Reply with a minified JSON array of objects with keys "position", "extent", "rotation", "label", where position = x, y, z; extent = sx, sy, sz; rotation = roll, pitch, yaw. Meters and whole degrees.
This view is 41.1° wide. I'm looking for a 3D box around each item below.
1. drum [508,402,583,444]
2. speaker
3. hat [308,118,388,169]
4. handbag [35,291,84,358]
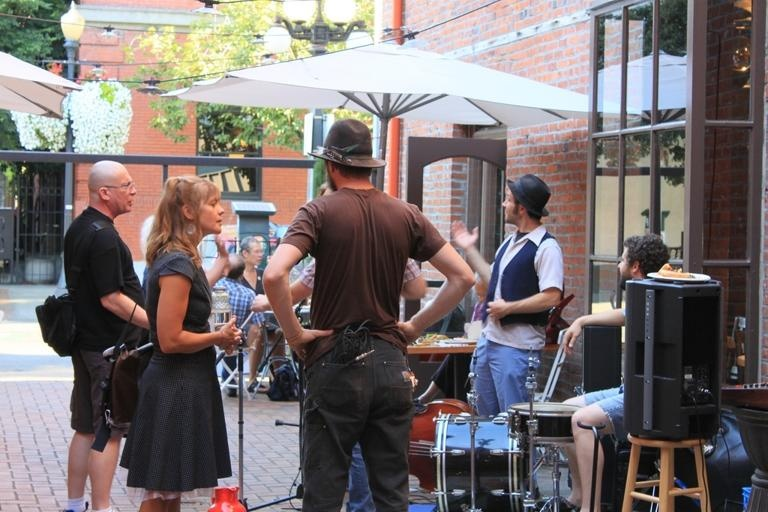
[{"position":[1.288,1.347,8.273],"extent":[0.387,0.165,0.383],"rotation":[1,-3,0],"label":"drum"},{"position":[2.139,0.778,7.614],"extent":[0.685,1.176,0.258],"rotation":[1,1,16],"label":"speaker"},{"position":[-0.249,-0.772,7.265],"extent":[0.379,0.200,0.374],"rotation":[11,2,-6],"label":"hat"},{"position":[-2.735,0.573,8.519],"extent":[0.315,0.531,0.235],"rotation":[0,1,-19],"label":"handbag"}]
